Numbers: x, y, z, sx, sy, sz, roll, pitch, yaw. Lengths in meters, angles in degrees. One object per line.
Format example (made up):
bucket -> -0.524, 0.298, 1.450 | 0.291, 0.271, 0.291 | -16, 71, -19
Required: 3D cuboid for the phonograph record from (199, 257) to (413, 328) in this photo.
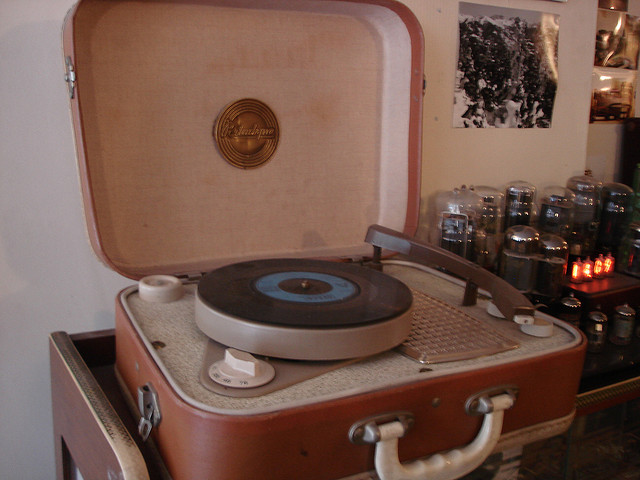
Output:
phonograph record -> -0.027, 0.106, 1.051 | 0.212, 0.026, 0.204 | 6, 11, 11
